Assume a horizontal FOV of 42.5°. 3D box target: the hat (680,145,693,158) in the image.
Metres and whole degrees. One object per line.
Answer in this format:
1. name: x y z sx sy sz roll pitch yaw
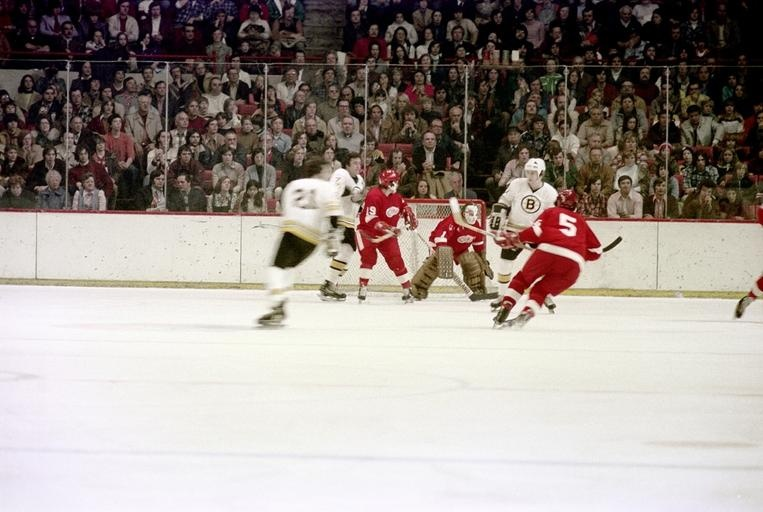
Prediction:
1. hat: 4.747 -1.593 15.253 0.159 0.196 0.185 -5 30 12

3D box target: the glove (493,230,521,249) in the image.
1. glove: 1.497 -0.184 11.658 0.295 0.101 0.210 6 3 32

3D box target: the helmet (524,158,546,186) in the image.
1. helmet: 2.076 -1.114 13.259 0.220 0.403 0.337 7 4 13

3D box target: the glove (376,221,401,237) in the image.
1. glove: 0.107 -0.382 13.976 0.288 0.114 0.180 18 11 10

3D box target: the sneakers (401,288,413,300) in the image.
1. sneakers: 0.373 0.569 14.116 0.162 0.163 0.170 -5 3 7

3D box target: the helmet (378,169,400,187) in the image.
1. helmet: 0.113 -1.113 14.127 0.249 0.246 0.284 6 4 2

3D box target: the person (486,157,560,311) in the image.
1. person: 1.926 -0.293 13.335 1.233 2.065 1.118 2 2 -24

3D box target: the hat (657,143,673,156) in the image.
1. hat: 4.409 -1.643 15.199 0.191 0.215 0.090 -2 0 14

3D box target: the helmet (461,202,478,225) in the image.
1. helmet: 1.279 -0.607 14.076 0.231 0.265 0.277 1 -13 -10

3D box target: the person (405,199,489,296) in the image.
1. person: 0.995 -0.047 14.344 1.220 1.448 1.550 -9 12 -43

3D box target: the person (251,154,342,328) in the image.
1. person: -0.884 -0.155 10.836 0.977 1.889 0.488 3 5 -31

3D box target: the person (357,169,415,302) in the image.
1. person: 0.069 -0.273 14.165 0.834 1.903 0.510 5 5 -3
